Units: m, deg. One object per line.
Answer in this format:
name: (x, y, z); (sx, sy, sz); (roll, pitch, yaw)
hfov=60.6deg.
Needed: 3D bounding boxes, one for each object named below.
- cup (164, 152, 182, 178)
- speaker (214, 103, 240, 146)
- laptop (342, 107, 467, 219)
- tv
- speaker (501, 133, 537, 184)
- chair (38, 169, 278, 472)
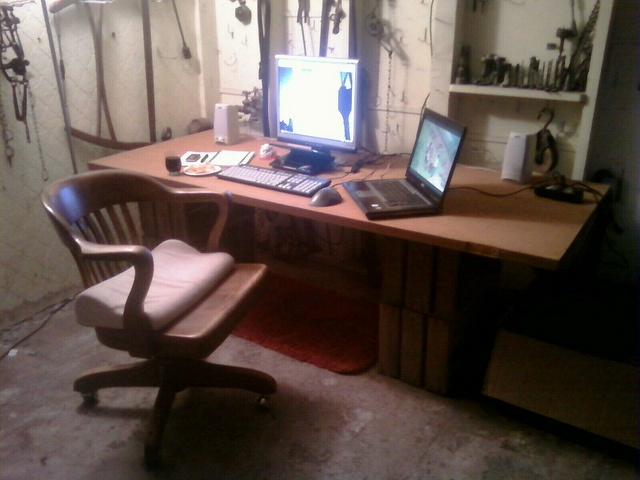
cup: (-0.737, -0.374, 2.806); (0.092, 0.101, 0.093); (1, 13, 0)
speaker: (-0.557, -0.699, 3.273); (0.147, 0.239, 0.146); (21, 26, 41)
laptop: (0.348, -0.345, 2.416); (0.404, 0.376, 0.446); (-6, 25, -11)
tv: (-0.070, -0.642, 2.820); (0.564, 0.557, 0.331); (15, 27, 34)
speaker: (0.971, -0.398, 2.645); (0.160, 0.229, 0.146); (10, 12, 16)
chair: (-0.645, 0.264, 2.360); (0.861, 1.000, 0.888); (8, 19, 15)
